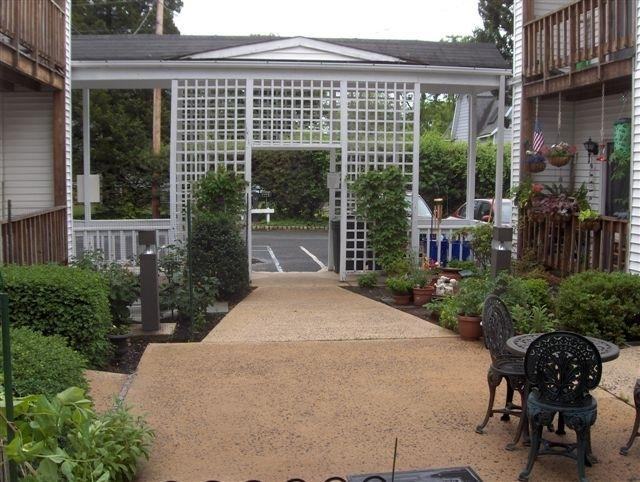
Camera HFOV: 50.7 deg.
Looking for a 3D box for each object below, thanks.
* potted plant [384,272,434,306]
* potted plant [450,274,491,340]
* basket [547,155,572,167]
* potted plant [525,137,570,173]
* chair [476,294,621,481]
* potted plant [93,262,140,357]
[{"bbox_3d":[1.483,0.798,11.164,0.590,0.441,0.609,-1,-1,-3],"label":"potted plant"},{"bbox_3d":[1.914,0.861,8.817,0.670,0.929,0.684,1,-6,1],"label":"potted plant"},{"bbox_3d":[3.933,-1.319,11.157,0.320,0.146,0.304,0,2,12],"label":"basket"},{"bbox_3d":[3.868,-1.442,11.374,0.429,0.357,0.705,3,-3,-31],"label":"potted plant"},{"bbox_3d":[1.851,1.276,5.857,0.728,1.321,1.104,-1,2,-17],"label":"chair"},{"bbox_3d":[-2.586,0.817,8.644,0.561,1.071,1.886,-1,2,-16],"label":"potted plant"}]
